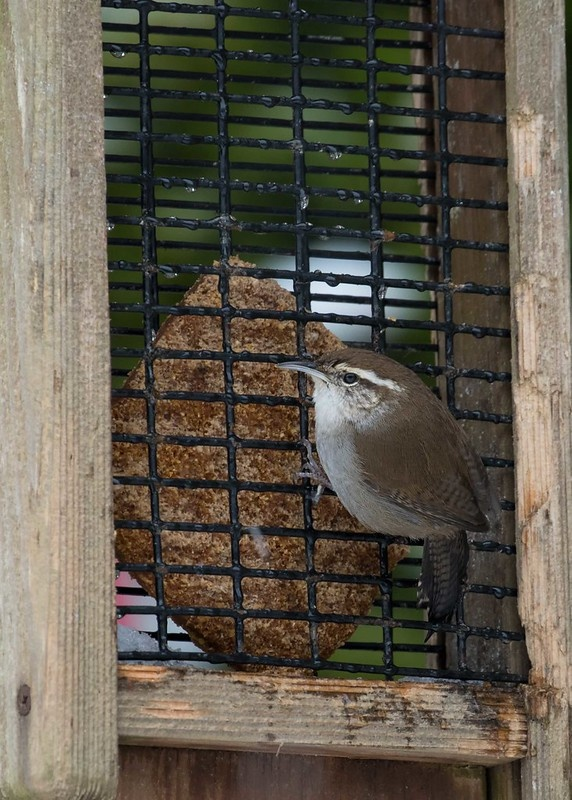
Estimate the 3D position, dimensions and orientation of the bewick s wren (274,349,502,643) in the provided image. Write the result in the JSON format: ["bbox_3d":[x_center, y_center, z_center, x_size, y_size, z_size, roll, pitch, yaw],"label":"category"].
[{"bbox_3d":[0.277,0.107,5.924,0.410,0.711,0.798,6,12,37],"label":"bewick s wren"}]
